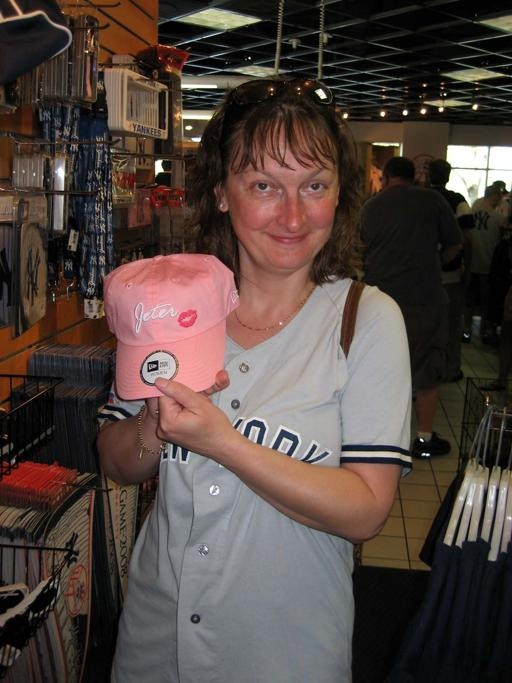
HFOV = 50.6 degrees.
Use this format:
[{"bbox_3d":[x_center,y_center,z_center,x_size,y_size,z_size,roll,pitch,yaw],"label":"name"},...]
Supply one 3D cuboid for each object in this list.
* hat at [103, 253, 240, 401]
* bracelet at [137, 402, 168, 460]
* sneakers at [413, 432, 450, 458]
[{"bbox_3d":[-0.154,-0.057,0.931,0.240,0.126,0.358,-6,42,3],"label":"hat"},{"bbox_3d":[-0.190,0.163,0.937,0.034,0.111,0.075,3,9,13],"label":"bracelet"},{"bbox_3d":[1.376,0.831,4.386,0.359,0.196,0.154,-7,13,-31],"label":"sneakers"}]
